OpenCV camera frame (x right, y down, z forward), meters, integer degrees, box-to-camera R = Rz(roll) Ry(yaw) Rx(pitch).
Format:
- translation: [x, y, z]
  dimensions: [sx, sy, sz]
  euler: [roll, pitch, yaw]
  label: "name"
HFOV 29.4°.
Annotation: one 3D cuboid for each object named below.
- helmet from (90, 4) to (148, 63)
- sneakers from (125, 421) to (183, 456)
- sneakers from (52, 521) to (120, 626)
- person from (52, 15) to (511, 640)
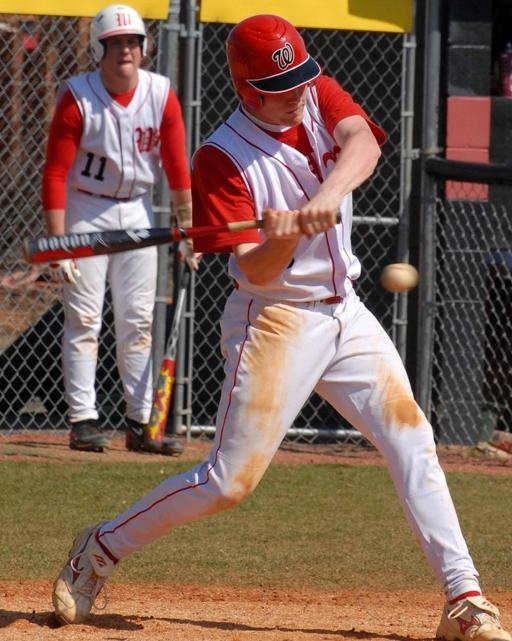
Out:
- translation: [-0.604, -1.252, 4.207]
  dimensions: [0.240, 0.205, 0.278]
  euler: [-3, 16, -16]
  label: "helmet"
- translation: [-0.444, 0.565, 4.742]
  dimensions: [0.373, 0.198, 0.117]
  euler: [2, 9, 6]
  label: "sneakers"
- translation: [-0.443, 0.672, 2.686]
  dimensions: [0.149, 0.129, 0.290]
  euler: [-18, 39, 31]
  label: "sneakers"
- translation: [0.080, 0.017, 2.515]
  dimensions: [1.131, 1.639, 0.575]
  euler: [2, 7, -9]
  label: "person"
